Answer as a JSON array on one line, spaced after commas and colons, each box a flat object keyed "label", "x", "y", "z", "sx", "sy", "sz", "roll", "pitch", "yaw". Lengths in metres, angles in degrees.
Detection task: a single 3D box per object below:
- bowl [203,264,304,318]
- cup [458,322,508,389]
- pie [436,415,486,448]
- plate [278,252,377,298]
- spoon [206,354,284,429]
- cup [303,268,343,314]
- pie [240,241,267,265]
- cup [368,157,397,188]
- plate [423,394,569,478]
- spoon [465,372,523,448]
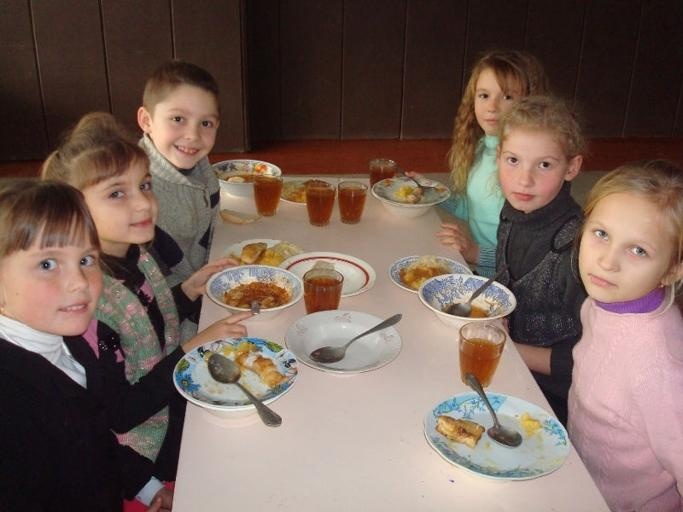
[{"label": "bowl", "x": -0.255, "y": 0.097, "z": 1.536, "sx": 0.189, "sy": 0.051, "sz": 0.185, "roll": 2, "pitch": 37, "yaw": -2}, {"label": "cup", "x": 0.323, "y": 0.248, "z": 1.297, "sx": 0.136, "sy": 0.155, "sz": 0.147, "roll": -1, "pitch": 26, "yaw": 0}, {"label": "pie", "x": 0.265, "y": 0.375, "z": 1.107, "sx": 0.085, "sy": 0.025, "sz": 0.062, "roll": 16, "pitch": 26, "yaw": 21}, {"label": "plate", "x": -0.027, "y": 0.050, "z": 1.701, "sx": 0.191, "sy": 0.025, "sz": 0.188, "roll": 7, "pitch": 29, "yaw": 0}, {"label": "spoon", "x": -0.239, "y": 0.298, "z": 1.182, "sx": 0.082, "sy": 0.038, "sz": 0.333, "roll": -8, "pitch": 32, "yaw": -36}, {"label": "cup", "x": -0.054, "y": 0.088, "z": 1.508, "sx": 0.121, "sy": 0.133, "sz": 0.122, "roll": 0, "pitch": 28, "yaw": 0}, {"label": "pie", "x": -0.299, "y": -0.013, "z": 1.722, "sx": 0.060, "sy": 0.028, "sz": 0.113, "roll": 10, "pitch": 24, "yaw": 2}, {"label": "cup", "x": 0.194, "y": -0.401, "z": 2.484, "sx": 0.163, "sy": 0.181, "sz": 0.162, "roll": -1, "pitch": 29, "yaw": 0}, {"label": "plate", "x": 0.339, "y": 0.385, "z": 1.102, "sx": 0.311, "sy": 0.049, "sz": 0.217, "roll": 4, "pitch": 31, "yaw": 9}, {"label": "spoon", "x": 0.351, "y": 0.335, "z": 1.156, "sx": 0.048, "sy": 0.027, "sz": 0.197, "roll": -1, "pitch": 36, "yaw": -12}]
